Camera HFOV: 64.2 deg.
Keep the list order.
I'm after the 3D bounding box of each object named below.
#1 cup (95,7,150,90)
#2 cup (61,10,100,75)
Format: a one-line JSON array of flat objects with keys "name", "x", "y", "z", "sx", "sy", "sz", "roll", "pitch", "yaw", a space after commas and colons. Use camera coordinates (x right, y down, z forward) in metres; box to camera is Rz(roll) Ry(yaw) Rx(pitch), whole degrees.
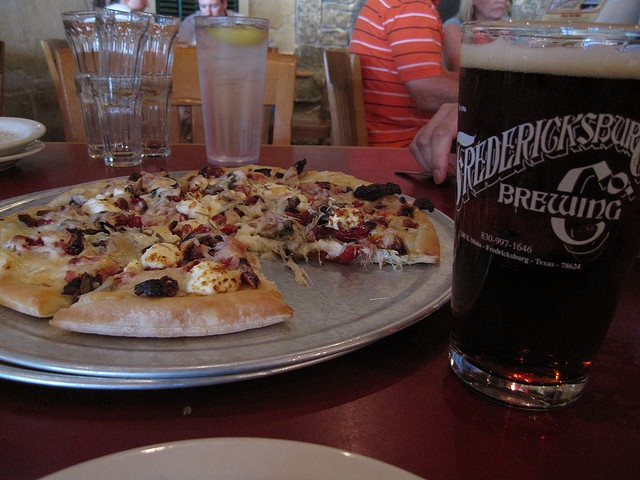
[{"name": "cup", "x": -0.592, "y": -0.549, "z": 1.461, "sx": 0.171, "sy": 0.190, "sz": 0.179, "roll": 7, "pitch": 20, "yaw": -3}, {"name": "cup", "x": -0.651, "y": -0.547, "z": 1.414, "sx": 0.080, "sy": 0.161, "sz": 0.162, "roll": -9, "pitch": 26, "yaw": -22}]
